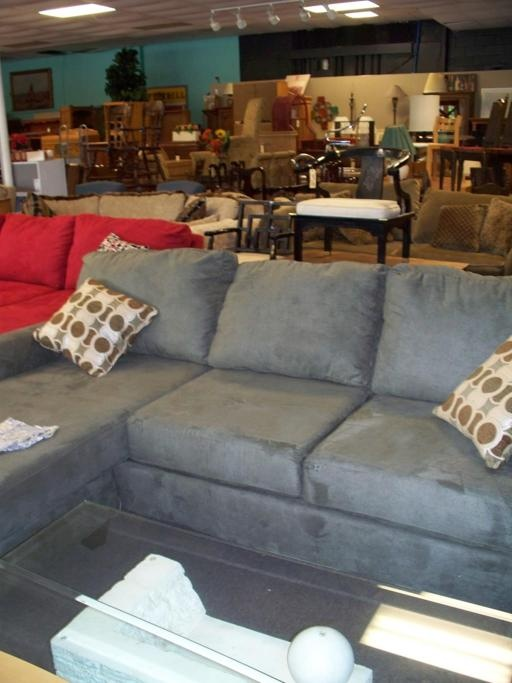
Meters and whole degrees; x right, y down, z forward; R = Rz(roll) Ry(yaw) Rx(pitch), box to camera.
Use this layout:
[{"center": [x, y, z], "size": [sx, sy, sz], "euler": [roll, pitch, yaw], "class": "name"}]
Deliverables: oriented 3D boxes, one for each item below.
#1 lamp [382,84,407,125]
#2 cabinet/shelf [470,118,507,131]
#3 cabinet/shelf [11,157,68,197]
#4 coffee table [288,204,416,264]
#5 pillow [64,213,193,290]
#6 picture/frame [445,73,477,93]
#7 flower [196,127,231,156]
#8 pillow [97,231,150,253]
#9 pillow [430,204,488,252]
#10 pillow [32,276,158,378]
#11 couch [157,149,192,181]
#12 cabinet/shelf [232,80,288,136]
[{"center": [2.404, -4.053, 9.596], "size": [0.416, 0.667, 0.468], "euler": [3, 21, 11], "class": "lamp"}, {"center": [3.414, -3.266, 8.320], "size": [0.382, 0.084, 0.397], "euler": [9, 15, 35], "class": "cabinet/shelf"}, {"center": [-2.477, -1.892, 6.436], "size": [0.580, 0.400, 0.500], "euler": [-8, 21, -19], "class": "cabinet/shelf"}, {"center": [0.490, -0.569, 3.071], "size": [0.581, 0.273, 0.502], "euler": [10, 22, 27], "class": "coffee table"}, {"center": [-0.698, -0.526, 2.998], "size": [0.528, 0.463, 0.155], "euler": [6, 14, 21], "class": "pillow"}, {"center": [3.282, -4.170, 8.970], "size": [0.520, 0.280, 0.138], "euler": [3, 22, 11], "class": "picture/frame"}, {"center": [-0.615, -3.253, 9.108], "size": [0.423, 0.378, 0.583], "euler": [-4, 20, -9], "class": "flower"}, {"center": [-0.678, -0.491, 2.810], "size": [0.191, 0.053, 0.184], "euler": [-5, 33, -33], "class": "pillow"}, {"center": [1.709, -0.960, 4.704], "size": [0.441, 0.388, 0.135], "euler": [16, 3, 40], "class": "pillow"}, {"center": [-0.606, -0.055, 2.303], "size": [0.429, 0.129, 0.389], "euler": [30, 70, 28], "class": "pillow"}, {"center": [-1.432, -3.121, 9.827], "size": [0.402, 0.474, 1.048], "euler": [3, 20, 9], "class": "couch"}, {"center": [0.002, -4.240, 10.092], "size": [0.918, 0.863, 0.549], "euler": [2, 21, 7], "class": "cabinet/shelf"}]
